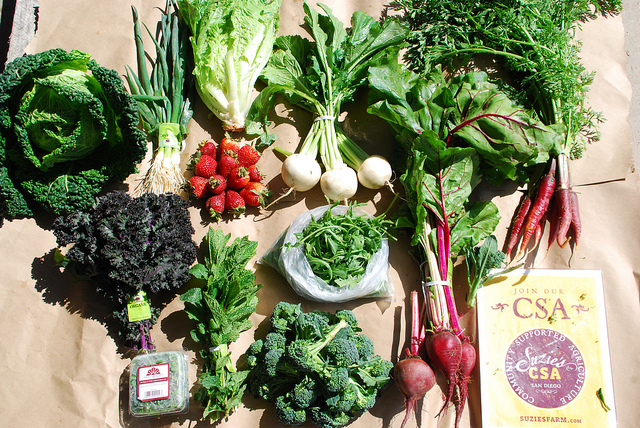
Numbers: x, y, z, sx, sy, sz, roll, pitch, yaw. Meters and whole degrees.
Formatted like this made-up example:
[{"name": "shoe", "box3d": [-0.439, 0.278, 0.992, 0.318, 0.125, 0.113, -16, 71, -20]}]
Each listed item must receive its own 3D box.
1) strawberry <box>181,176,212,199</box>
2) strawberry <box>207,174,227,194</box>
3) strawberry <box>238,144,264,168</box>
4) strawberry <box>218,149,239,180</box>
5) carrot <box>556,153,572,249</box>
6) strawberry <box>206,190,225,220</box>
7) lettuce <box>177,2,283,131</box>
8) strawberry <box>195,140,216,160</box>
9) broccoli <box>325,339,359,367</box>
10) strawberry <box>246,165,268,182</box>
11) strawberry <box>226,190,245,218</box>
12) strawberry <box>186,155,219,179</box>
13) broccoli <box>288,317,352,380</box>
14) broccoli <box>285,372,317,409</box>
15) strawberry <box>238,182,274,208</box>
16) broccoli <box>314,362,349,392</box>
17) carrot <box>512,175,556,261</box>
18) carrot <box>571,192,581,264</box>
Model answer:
[{"name": "strawberry", "box3d": [-0.747, -0.143, 3.217, 0.164, 0.145, 0.078, -2, 36, -19]}, {"name": "strawberry", "box3d": [-0.616, -0.171, 3.149, 0.094, 0.105, 0.116, 33, 11, -7]}, {"name": "strawberry", "box3d": [-0.432, -0.340, 3.251, 0.117, 0.141, 0.120, 24, 3, -15]}, {"name": "strawberry", "box3d": [-0.571, -0.289, 3.200, 0.116, 0.163, 0.111, 9, 1, -23]}, {"name": "carrot", "box3d": [1.444, -0.059, 3.185, 0.074, 0.586, 0.111, 3, -8, -7]}, {"name": "strawberry", "box3d": [-0.624, -0.047, 3.220, 0.070, 0.114, 0.164, 6, 52, 36]}, {"name": "lettuce", "box3d": [-0.561, -0.815, 3.290, 0.501, 0.853, 0.293, 0, -10, -10]}, {"name": "strawberry", "box3d": [-0.690, -0.382, 3.264, 0.111, 0.090, 0.101, 47, 23, 21]}, {"name": "broccoli", "box3d": [0.115, 0.755, 2.850, 0.127, 0.159, 0.107, 12, 76, 14]}, {"name": "strawberry", "box3d": [-0.385, -0.217, 3.225, 0.082, 0.110, 0.099, -3, 64, 20]}, {"name": "strawberry", "box3d": [-0.514, -0.062, 3.244, 0.101, 0.106, 0.150, -21, 76, 3]}, {"name": "strawberry", "box3d": [-0.694, -0.280, 3.193, 0.141, 0.147, 0.131, 11, 22, -11]}, {"name": "broccoli", "box3d": [-0.002, 0.749, 2.947, 0.205, 0.154, 0.338, 35, 44, 26]}, {"name": "broccoli", "box3d": [-0.094, 0.986, 2.894, 0.139, 0.193, 0.091, 0, -2, -13]}, {"name": "strawberry", "box3d": [-0.395, -0.117, 3.194, 0.163, 0.148, 0.171, 12, 66, 3]}, {"name": "broccoli", "box3d": [0.069, 0.885, 2.904, 0.191, 0.129, 0.097, 27, 53, 20]}, {"name": "carrot", "box3d": [1.315, -0.032, 3.215, 0.102, 0.647, 0.105, 24, 11, 7]}, {"name": "carrot", "box3d": [1.527, 0.045, 3.176, 0.059, 0.337, 0.055, -2, 0, 1]}]
